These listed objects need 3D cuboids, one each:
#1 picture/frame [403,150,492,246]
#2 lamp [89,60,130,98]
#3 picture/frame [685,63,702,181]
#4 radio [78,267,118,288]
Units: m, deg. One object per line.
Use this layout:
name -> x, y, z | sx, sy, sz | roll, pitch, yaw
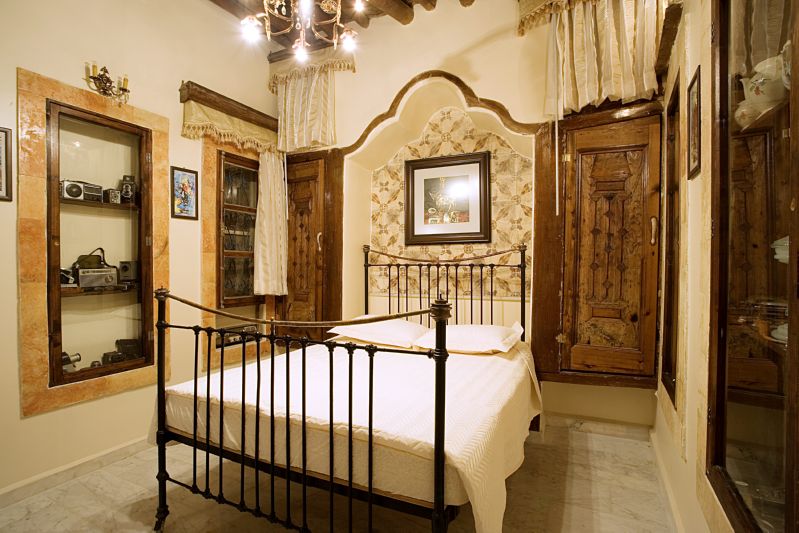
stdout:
picture/frame -> 0.459, -0.584, 5.008 | 0.850, 0.868, 0.078 | -1, -3, 22
lamp -> -2.201, -1.384, 4.223 | 0.249, 0.098, 0.204 | 11, 5, 33
picture/frame -> 1.705, -0.807, 3.260 | 0.053, 0.608, 0.298 | 1, 2, 21
radio -> -2.273, 0.092, 4.237 | 0.278, 0.145, 0.064 | 0, 2, -36
